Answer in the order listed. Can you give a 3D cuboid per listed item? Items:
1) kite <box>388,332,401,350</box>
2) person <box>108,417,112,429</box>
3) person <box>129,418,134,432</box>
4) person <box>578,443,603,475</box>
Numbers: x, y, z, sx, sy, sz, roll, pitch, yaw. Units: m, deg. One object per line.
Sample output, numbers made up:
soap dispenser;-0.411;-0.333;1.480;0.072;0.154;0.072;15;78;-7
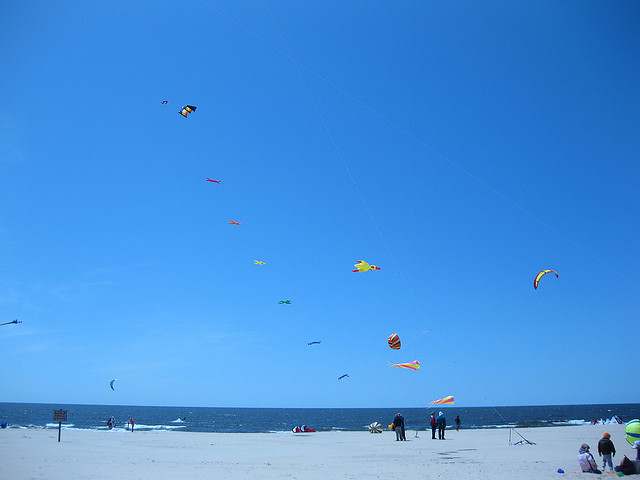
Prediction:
kite;4.009;5.549;38.639;0.499;0.948;0.729;1;-28;-4
person;-16.332;14.444;55.327;0.247;0.964;1.568;8;-29;-16
person;-14.093;13.818;52.994;0.280;1.071;1.188;5;-29;-12
person;12.469;10.279;32.968;1.207;1.636;1.023;17;-25;-32
